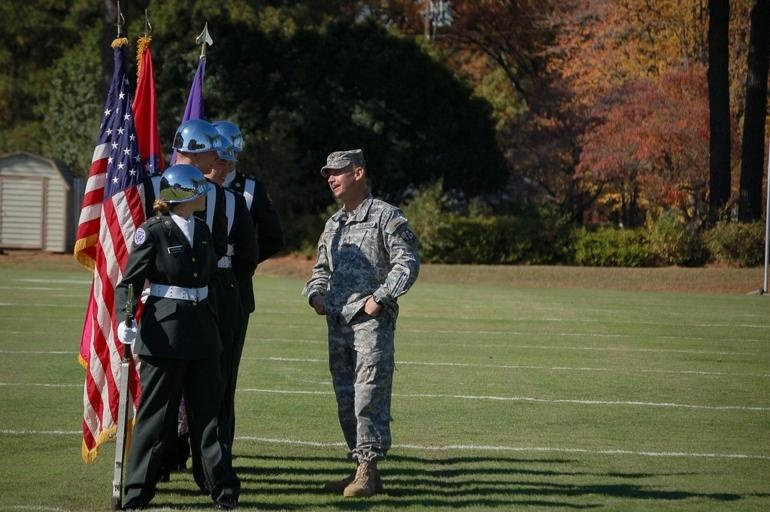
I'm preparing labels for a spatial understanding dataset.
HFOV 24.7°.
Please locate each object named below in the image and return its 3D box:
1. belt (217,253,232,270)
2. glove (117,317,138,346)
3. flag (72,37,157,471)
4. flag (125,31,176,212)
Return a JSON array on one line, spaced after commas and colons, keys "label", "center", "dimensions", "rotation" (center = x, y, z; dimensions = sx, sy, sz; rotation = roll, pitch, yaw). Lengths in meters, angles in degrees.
[{"label": "belt", "center": [-3.994, 0.147, 43.605], "dimensions": [0.323, 0.248, 0.315], "rotation": [1, -4, -17]}, {"label": "glove", "center": [-6.281, 1.849, 42.921], "dimensions": [0.445, 0.596, 0.246], "rotation": [3, 2, -7]}, {"label": "flag", "center": [-7.306, 0.384, 44.361], "dimensions": [0.933, 9.065, 1.595], "rotation": [7, 7, 3]}, {"label": "flag", "center": [-5.980, -3.614, 44.694], "dimensions": [0.951, 4.000, 0.561], "rotation": [-4, 15, -17]}]
